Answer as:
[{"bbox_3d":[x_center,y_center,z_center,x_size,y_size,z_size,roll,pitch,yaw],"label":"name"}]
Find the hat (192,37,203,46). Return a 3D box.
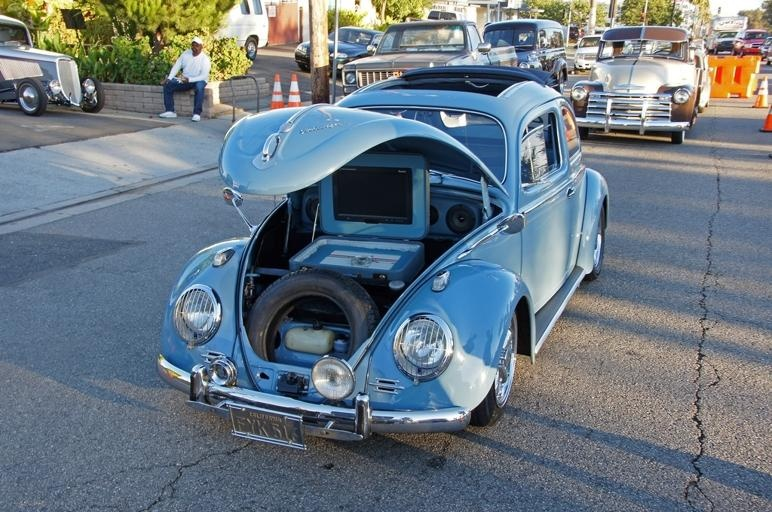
[{"bbox_3d":[-5.020,-5.750,14.375,0.288,0.158,0.419,9,29,-1],"label":"hat"}]
